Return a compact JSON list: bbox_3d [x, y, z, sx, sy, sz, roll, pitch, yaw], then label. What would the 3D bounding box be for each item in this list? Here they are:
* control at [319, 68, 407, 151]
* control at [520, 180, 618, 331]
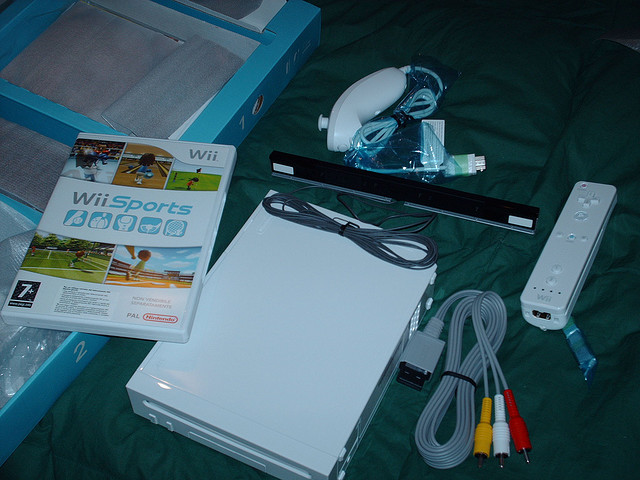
[{"bbox_3d":[0.107,-0.324,1.362,0.164,0.242,0.068,38,-20,8],"label":"control"},{"bbox_3d":[0.547,-0.011,1.159,0.132,0.449,0.109,21,-28,31],"label":"control"}]
